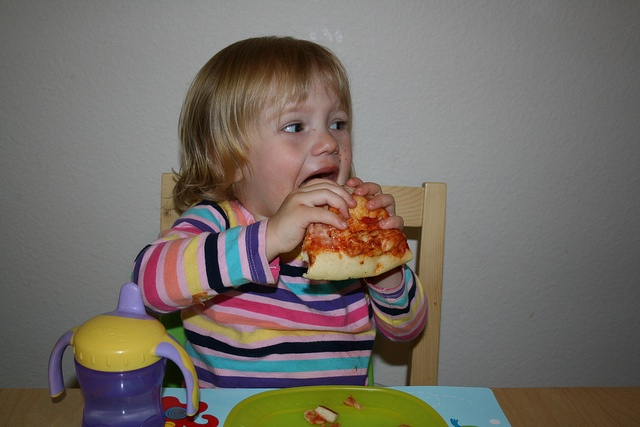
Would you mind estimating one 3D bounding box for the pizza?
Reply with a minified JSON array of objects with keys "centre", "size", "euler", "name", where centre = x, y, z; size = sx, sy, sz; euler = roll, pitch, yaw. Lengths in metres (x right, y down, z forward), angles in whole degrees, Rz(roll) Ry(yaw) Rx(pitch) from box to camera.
[{"centre":[0.089,0.076,1.273],"size":[0.217,0.075,0.222],"euler":[4,61,-9],"name":"pizza"}]
